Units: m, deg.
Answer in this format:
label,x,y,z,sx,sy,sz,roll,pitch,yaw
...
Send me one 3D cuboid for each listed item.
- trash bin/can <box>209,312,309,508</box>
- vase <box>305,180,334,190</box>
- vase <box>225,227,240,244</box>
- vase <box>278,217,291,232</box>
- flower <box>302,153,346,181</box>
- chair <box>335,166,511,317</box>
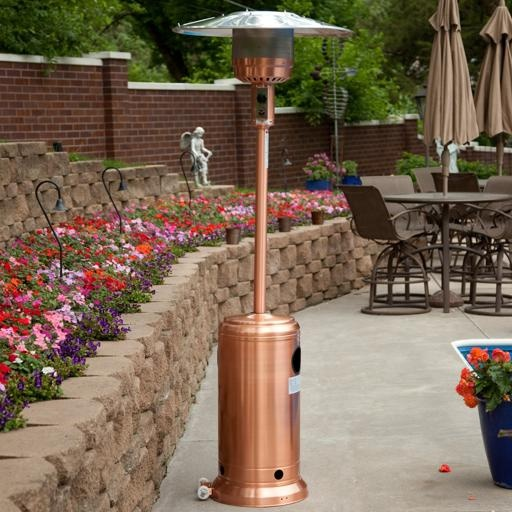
label,x,y,z,sx,sy,sz,roll,pitch,yaw
trash bin/can,0.008,0.701,4.736,0.440,0.847,0.285,-1,11,-2
vase,1.083,-1.187,17.636,0.415,0.183,0.400,-1,9,-4
vase,-0.191,-0.158,8.018,0.117,0.091,0.122,0,-2,-1
vase,0.243,-0.265,8.883,0.108,0.132,0.125,0,10,1
flower,1.205,-1.580,17.832,0.662,0.456,0.547,1,19,0
chair,1.386,-0.142,9.082,1.317,1.100,1.206,0,3,-17
